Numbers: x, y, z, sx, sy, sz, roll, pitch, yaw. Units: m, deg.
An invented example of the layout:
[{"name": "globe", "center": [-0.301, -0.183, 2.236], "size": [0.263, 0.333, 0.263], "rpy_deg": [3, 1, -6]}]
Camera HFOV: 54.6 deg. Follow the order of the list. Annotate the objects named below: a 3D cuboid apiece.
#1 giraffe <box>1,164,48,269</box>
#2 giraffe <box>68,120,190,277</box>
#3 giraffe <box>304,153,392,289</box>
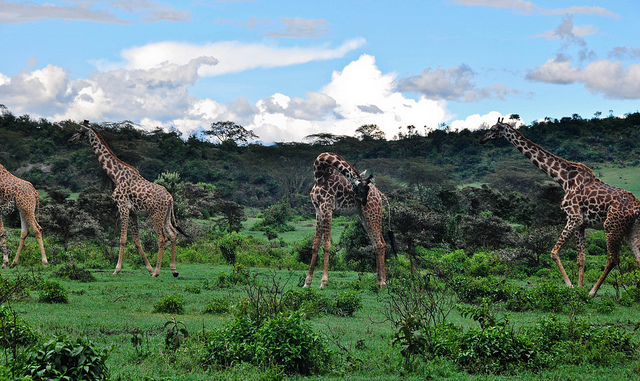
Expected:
[{"name": "giraffe", "center": [-13.492, 1.151, 28.162], "size": [1.796, 4.388, 4.342], "rpy_deg": [0, 1, -27]}, {"name": "giraffe", "center": [-8.225, 0.605, 27.270], "size": [4.172, 6.263, 1.621], "rpy_deg": [1, 1, 26]}, {"name": "giraffe", "center": [1.092, 1.235, 26.437], "size": [3.640, 5.638, 2.380], "rpy_deg": [0, 1, -15]}]
